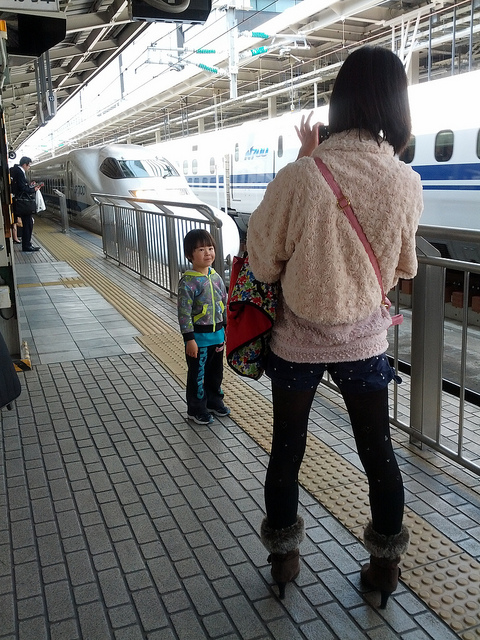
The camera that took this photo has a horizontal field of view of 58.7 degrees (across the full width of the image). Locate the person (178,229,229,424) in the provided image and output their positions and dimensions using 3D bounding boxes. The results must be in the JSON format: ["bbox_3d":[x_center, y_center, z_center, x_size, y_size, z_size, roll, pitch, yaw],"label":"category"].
[{"bbox_3d":[-0.229,0.045,2.799,0.391,1.277,0.290,-6,8,-24],"label":"person"}]

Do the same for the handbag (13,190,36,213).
[{"bbox_3d":[-4.807,-2.654,9.495,0.218,0.466,0.729,-2,8,5],"label":"handbag"}]

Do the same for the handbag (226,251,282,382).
[{"bbox_3d":[0.044,-0.013,1.232,0.098,0.334,0.248,4,38,-7],"label":"handbag"}]

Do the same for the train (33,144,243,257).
[{"bbox_3d":[-6.010,-5.168,17.826,3.013,4.219,15.242,-6,16,-41],"label":"train"}]
